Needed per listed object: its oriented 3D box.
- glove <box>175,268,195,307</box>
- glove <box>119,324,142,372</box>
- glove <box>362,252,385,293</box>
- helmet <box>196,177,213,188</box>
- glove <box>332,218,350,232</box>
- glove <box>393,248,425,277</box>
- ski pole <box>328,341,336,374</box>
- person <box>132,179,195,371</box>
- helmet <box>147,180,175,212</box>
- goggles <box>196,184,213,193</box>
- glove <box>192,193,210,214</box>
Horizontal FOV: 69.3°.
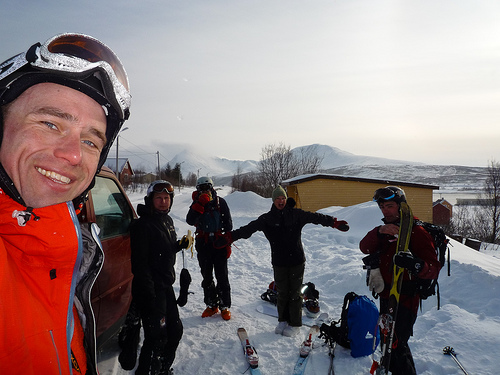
[{"bbox_3d":[-0.879,1.332,4.838,0.201,0.458,0.260,3,21,-11],"label":"glove"},{"bbox_3d":[-1.347,1.783,4.147,0.172,0.564,0.383,0,-11,4],"label":"glove"},{"bbox_3d":[1.588,1.133,4.755,0.143,0.458,0.327,-2,1,10],"label":"glove"},{"bbox_3d":[-0.795,-0.105,6.325,0.275,0.172,0.306,-1,5,-8],"label":"helmet"},{"bbox_3d":[1.419,0.598,5.684,0.220,0.208,0.271,1,5,13],"label":"glove"},{"bbox_3d":[1.838,0.856,4.257,0.232,0.125,0.312,41,-7,-31],"label":"glove"},{"bbox_3d":[1.117,2.302,4.928,0.074,0.028,0.554,-7,21,21],"label":"ski pole"},{"bbox_3d":[-1.108,1.137,4.568,0.710,2.413,1.340,-1,5,-12],"label":"person"},{"bbox_3d":[-1.114,0.115,4.726,0.350,0.426,0.349,5,-8,-25],"label":"helmet"},{"bbox_3d":[-0.781,-0.002,6.332,0.146,0.167,0.182,0,14,14],"label":"goggles"},{"bbox_3d":[-0.804,0.246,6.078,0.133,0.307,0.221,43,-9,-24],"label":"glove"}]
